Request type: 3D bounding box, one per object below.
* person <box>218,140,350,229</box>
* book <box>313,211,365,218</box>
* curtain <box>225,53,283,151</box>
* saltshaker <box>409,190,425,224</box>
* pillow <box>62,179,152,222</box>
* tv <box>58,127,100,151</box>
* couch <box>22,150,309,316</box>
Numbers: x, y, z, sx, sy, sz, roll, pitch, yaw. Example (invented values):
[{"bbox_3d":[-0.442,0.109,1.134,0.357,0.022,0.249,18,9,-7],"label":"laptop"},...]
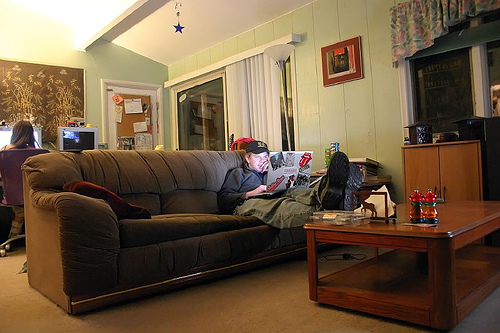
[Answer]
[{"bbox_3d":[0.330,0.119,3.299,0.748,0.832,1.447,-2,-3,-30],"label":"person"},{"bbox_3d":[0.585,0.316,2.306,0.311,0.039,0.164,-3,4,-4],"label":"book"},{"bbox_3d":[0.052,-1.030,5.811,0.323,1.542,1.245,-6,6,-34],"label":"curtain"},{"bbox_3d":[1.049,0.243,2.217,0.083,0.190,0.215,0,5,25],"label":"saltshaker"},{"bbox_3d":[-1.012,0.250,2.529,0.379,0.122,0.377,16,-5,17],"label":"pillow"},{"bbox_3d":[-2.594,-0.396,5.568,0.671,0.432,0.360,1,0,3],"label":"tv"},{"bbox_3d":[-0.767,0.384,2.872,1.800,1.051,0.925,-5,6,-33],"label":"couch"}]
